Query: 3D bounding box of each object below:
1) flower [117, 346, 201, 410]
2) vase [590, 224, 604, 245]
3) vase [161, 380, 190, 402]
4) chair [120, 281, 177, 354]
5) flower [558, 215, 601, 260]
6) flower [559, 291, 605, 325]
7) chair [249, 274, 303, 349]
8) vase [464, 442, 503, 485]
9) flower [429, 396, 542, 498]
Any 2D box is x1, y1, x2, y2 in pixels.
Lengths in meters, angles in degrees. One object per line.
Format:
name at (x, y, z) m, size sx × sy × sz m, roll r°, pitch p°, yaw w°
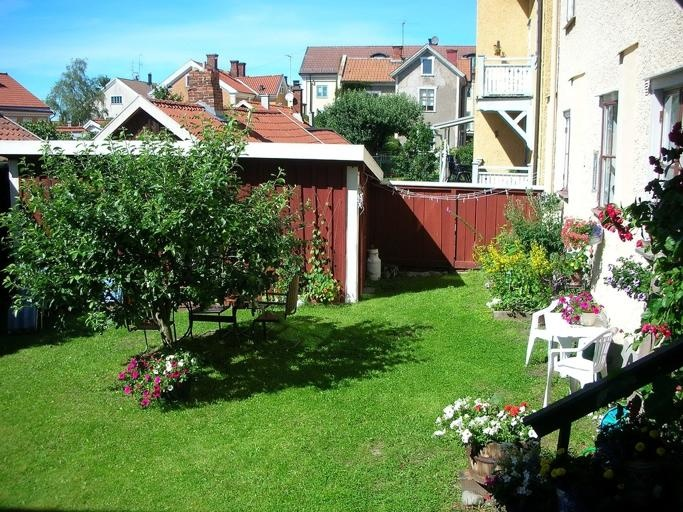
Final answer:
flower at (-2.761, 1.807, 9.155) m, size 0.837 × 0.583 × 0.877 m, roll -4°, pitch 4°, yaw -6°
vase at (4.492, -0.386, 10.605) m, size 0.097 × 0.337 × 0.231 m, roll 14°, pitch -13°, yaw -27°
vase at (-2.474, 2.044, 9.051) m, size 0.265 × 0.234 × 0.284 m, roll 0°, pitch -3°, yaw -1°
chair at (-3.211, 1.146, 10.076) m, size 0.518 × 0.817 × 0.516 m, roll -8°, pitch 1°, yaw 3°
flower at (4.377, -0.374, 11.005) m, size 0.551 × 0.503 × 0.630 m, roll 2°, pitch 7°, yaw 14°
flower at (3.651, 0.814, 9.211) m, size 0.501 × 0.406 × 0.538 m, roll 0°, pitch 4°, yaw 27°
chair at (-1.254, 0.973, 11.209) m, size 0.781 × 1.336 × 0.914 m, roll 4°, pitch 2°, yaw 3°
vase at (1.581, 2.294, 6.687) m, size 0.375 × 0.431 × 0.407 m, roll 4°, pitch -5°, yaw 17°
flower at (1.551, 2.141, 6.603) m, size 1.132 × 1.301 × 0.996 m, roll -1°, pitch -6°, yaw -4°
